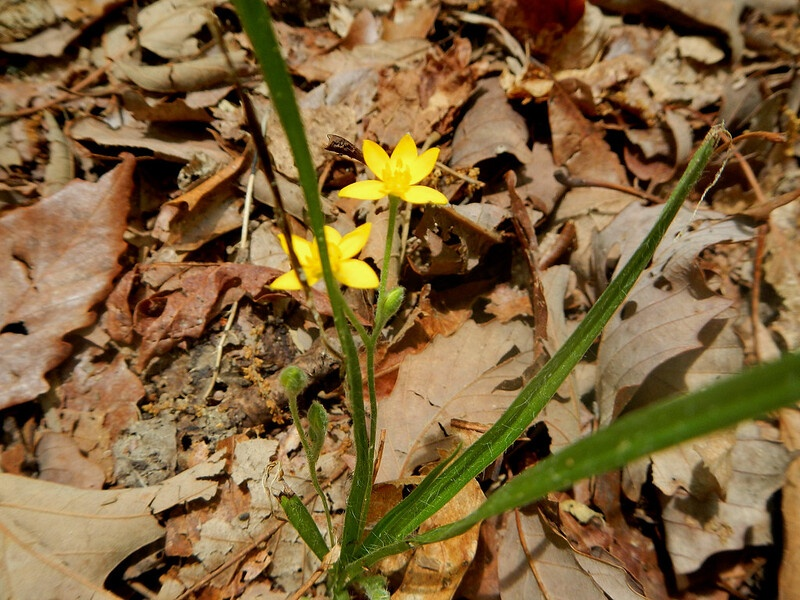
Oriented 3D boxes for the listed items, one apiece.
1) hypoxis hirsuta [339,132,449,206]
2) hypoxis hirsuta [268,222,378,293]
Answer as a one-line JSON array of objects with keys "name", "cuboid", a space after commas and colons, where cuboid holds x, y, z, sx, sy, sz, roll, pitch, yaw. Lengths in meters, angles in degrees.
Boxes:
[{"name": "hypoxis hirsuta", "cuboid": [-0.040, -0.559, 3.533, 0.444, 0.490, 0.180, -15, 89, 27]}, {"name": "hypoxis hirsuta", "cuboid": [-0.335, -0.196, 3.260, 0.457, 0.154, 0.497, 7, 37, -7]}]
